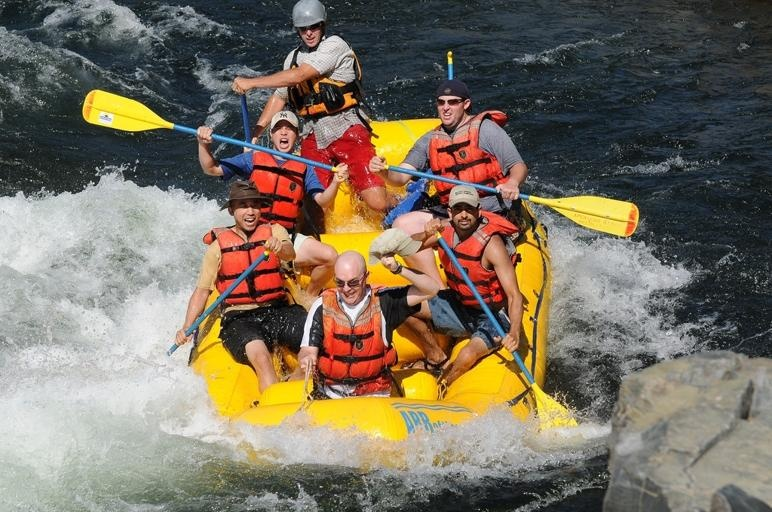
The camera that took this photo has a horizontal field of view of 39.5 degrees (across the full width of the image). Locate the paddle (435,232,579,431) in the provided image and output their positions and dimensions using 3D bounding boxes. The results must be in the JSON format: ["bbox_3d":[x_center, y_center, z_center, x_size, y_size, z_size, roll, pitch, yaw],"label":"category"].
[{"bbox_3d":[1.252,0.885,11.817,0.158,0.368,2.501,-9,62,-54],"label":"paddle"}]

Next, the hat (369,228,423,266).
[{"bbox_3d":[0.073,-0.110,11.535,0.403,0.165,0.378,-3,20,-19],"label":"hat"}]

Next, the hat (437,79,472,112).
[{"bbox_3d":[0.769,-1.873,12.506,0.320,0.329,0.430,2,15,6],"label":"hat"}]

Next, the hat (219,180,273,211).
[{"bbox_3d":[-1.580,-0.681,12.359,0.446,0.479,0.212,-14,72,-8],"label":"hat"}]

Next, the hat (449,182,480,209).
[{"bbox_3d":[0.827,-0.658,11.557,0.311,0.164,0.317,-1,55,5],"label":"hat"}]

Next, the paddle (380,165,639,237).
[{"bbox_3d":[1.385,-0.619,12.769,3.023,0.238,0.434,16,96,9],"label":"paddle"}]

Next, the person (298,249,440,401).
[{"bbox_3d":[-0.152,0.795,11.539,1.617,1.148,2.353,-1,87,-9],"label":"person"}]
